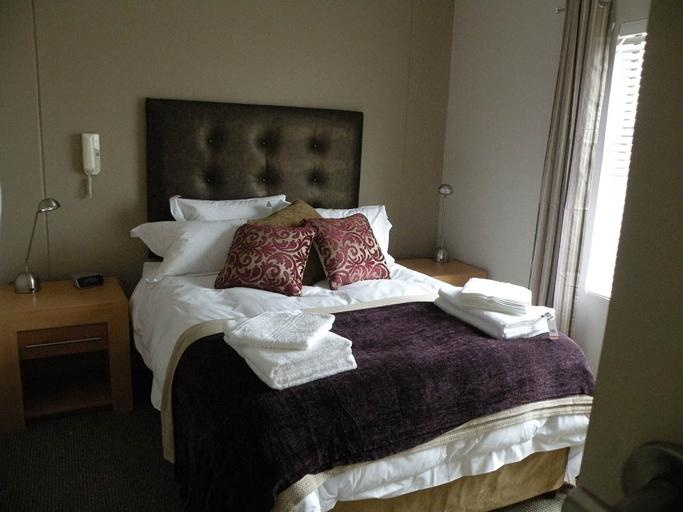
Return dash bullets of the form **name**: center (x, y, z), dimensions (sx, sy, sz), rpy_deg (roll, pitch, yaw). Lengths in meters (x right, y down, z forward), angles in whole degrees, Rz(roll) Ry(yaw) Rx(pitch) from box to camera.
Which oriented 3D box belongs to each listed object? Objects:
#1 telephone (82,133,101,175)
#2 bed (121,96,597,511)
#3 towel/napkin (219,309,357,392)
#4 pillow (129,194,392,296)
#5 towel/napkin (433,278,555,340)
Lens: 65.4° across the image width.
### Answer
- **telephone**: center (-1.443, -0.595, 3.059), dimensions (0.049, 0.232, 0.113), rpy_deg (9, 15, 31)
- **bed**: center (0.035, 0.156, 2.534), dimensions (1.728, 1.172, 1.783), rpy_deg (-1, 13, -13)
- **towel/napkin**: center (-0.191, 0.319, 1.952), dimensions (0.400, 0.127, 0.420), rpy_deg (-7, 15, -27)
- **pillow**: center (-0.427, -0.141, 3.319), dimensions (1.639, 0.448, 0.535), rpy_deg (-5, 14, -21)
- **towel/napkin**: center (0.657, 0.229, 2.403), dimensions (0.281, 0.122, 0.346), rpy_deg (-3, 13, -23)
